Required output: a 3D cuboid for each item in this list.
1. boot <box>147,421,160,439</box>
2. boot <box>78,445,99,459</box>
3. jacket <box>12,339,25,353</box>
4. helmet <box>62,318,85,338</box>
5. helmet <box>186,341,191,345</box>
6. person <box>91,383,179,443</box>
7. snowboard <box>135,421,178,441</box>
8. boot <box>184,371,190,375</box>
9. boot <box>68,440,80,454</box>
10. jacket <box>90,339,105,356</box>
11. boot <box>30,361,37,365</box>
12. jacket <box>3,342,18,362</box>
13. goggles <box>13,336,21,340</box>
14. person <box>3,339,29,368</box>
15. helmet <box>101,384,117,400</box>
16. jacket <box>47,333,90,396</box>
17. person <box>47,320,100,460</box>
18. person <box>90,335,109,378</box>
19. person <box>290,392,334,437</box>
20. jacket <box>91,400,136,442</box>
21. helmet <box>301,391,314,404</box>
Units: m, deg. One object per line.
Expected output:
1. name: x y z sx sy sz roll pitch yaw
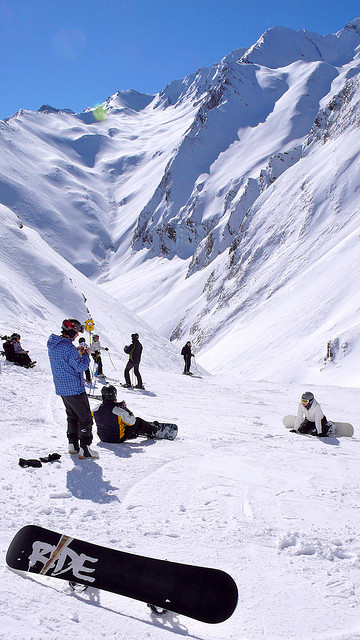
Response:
1. boot: -0.439 1.918 10.668 0.112 0.379 0.150 1 -9 35
2. boot: -1.247 1.786 8.488 0.273 0.219 0.137 -2 9 -16
3. jacket: -4.236 0.684 16.245 0.109 0.296 0.219 -43 -6 11
4. helmet: -1.484 0.081 8.629 0.311 0.299 0.265 -11 20 -40
5. helmet: 0.410 1.059 29.125 0.174 0.169 0.149 -10 15 -42
6. person: -0.766 1.565 10.388 0.748 1.052 1.703 -2 -3 35
7. snowboard: -0.328 1.941 10.889 0.870 0.273 0.349 4 9 19
8. boot: 0.291 2.273 26.856 0.214 0.134 0.327 3 9 15
9. boot: -1.489 1.753 8.721 0.143 0.180 0.188 -1 9 -13
10. jacket: -2.837 0.958 21.392 0.296 0.830 0.558 18 40 -2
11. boot: -3.907 1.148 16.598 0.155 0.076 0.222 -49 14 -13
12. jacket: -4.468 0.836 16.262 0.447 0.673 0.363 0 -4 -36
13. goggles: -4.306 0.478 16.308 0.146 0.079 0.112 -7 8 6
14. person: -4.348 0.866 16.594 0.712 0.880 0.619 -3 5 -33
15. helmet: -1.066 1.082 9.402 0.179 0.266 0.305 2 9 5
16. jacket: -1.537 0.569 8.560 0.569 0.825 0.613 -13 17 -36
17. person: -1.452 0.955 8.533 0.676 1.923 0.571 -1 9 -13
18. person: -2.821 1.302 21.778 0.497 1.284 0.550 -9 48 -4
19. person: 2.910 2.041 13.628 0.799 0.962 0.807 -6 2 -42
20. jacket: -1.085 1.604 9.867 0.648 0.764 0.601 -2 3 29
21. helmet: 2.723 1.653 13.238 0.205 0.339 0.469 4 9 20
